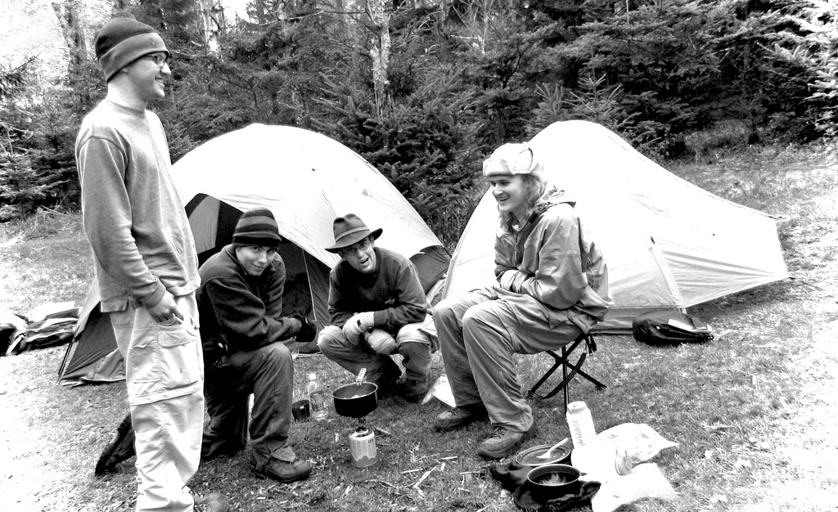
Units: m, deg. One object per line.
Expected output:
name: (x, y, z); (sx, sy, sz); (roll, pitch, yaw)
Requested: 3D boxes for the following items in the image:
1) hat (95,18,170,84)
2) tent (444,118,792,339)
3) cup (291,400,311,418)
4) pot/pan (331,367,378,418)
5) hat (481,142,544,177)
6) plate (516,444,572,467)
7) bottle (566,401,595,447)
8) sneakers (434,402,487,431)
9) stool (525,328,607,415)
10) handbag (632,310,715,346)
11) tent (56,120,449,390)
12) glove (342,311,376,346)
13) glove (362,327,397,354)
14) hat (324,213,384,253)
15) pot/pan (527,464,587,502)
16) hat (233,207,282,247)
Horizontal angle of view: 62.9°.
hat: (-2.656, -1.934, 6.362); (0.671, 0.560, 0.629); (-11, 15, -14)
tent: (2.495, -0.294, 8.839); (3.292, 1.629, 2.922); (-8, 16, 28)
cup: (-1.318, 1.705, 7.602); (0.161, 0.130, 0.176); (-3, 1, 0)
pot/pan: (-0.648, 1.429, 6.951); (0.439, 0.398, 0.395); (-14, 26, -14)
hat: (0.988, -0.988, 6.985); (0.465, 0.259, 0.344); (-7, 10, -36)
plate: (1.174, 1.901, 6.526); (0.344, 0.052, 0.241); (-21, 9, -10)
bottle: (1.545, 1.619, 6.536); (0.243, 0.424, 0.322); (-15, 27, -16)
sneakers: (0.427, 1.674, 7.336); (0.655, 0.280, 0.233); (-4, 8, -11)
stool: (1.521, 1.194, 7.577); (0.718, 0.839, 0.786); (-33, 42, 26)
handbag: (3.000, 0.880, 8.146); (0.597, 0.218, 0.483); (1, 5, 30)
tent: (-2.146, 0.152, 9.243); (3.878, 2.028, 3.836); (2, 11, 13)
glove: (-0.679, 0.778, 7.688); (0.372, 0.266, 0.134); (-41, -8, 8)
glove: (-0.430, 0.992, 7.668); (0.353, 0.352, 0.187); (-10, 26, -4)
hat: (-0.783, -0.247, 7.499); (0.508, 0.216, 0.459); (-14, 1, 42)
pot/pan: (1.244, 2.060, 6.458); (0.475, 0.174, 0.475); (6, -17, -11)
hat: (-1.679, -0.260, 6.959); (0.459, 0.368, 0.328); (-15, 27, -15)
